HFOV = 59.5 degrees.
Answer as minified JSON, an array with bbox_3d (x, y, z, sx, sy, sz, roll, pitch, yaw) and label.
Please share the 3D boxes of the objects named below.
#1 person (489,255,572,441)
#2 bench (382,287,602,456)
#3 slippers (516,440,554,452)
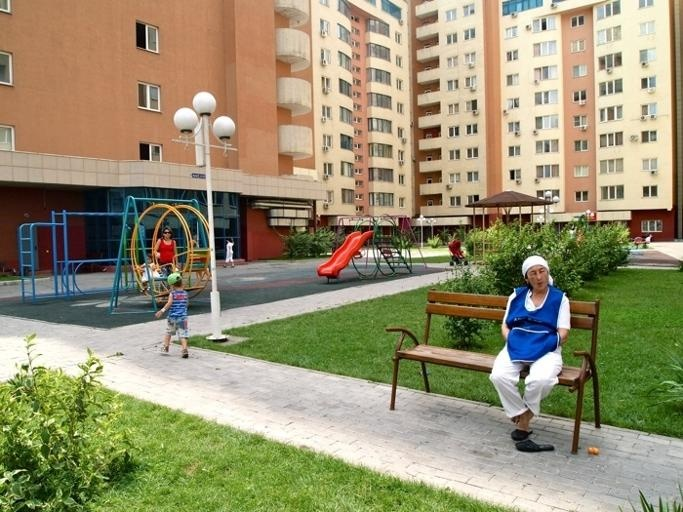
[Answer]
[{"bbox_3d":[2.103,1.003,6.675,0.726,1.941,0.842,-2,4,34],"label":"person"},{"bbox_3d":[1.819,1.296,7.327,2.444,1.587,0.890,2,6,42],"label":"bench"},{"bbox_3d":[2.029,1.978,6.299,0.289,0.079,0.155,0,0,0],"label":"slippers"}]
